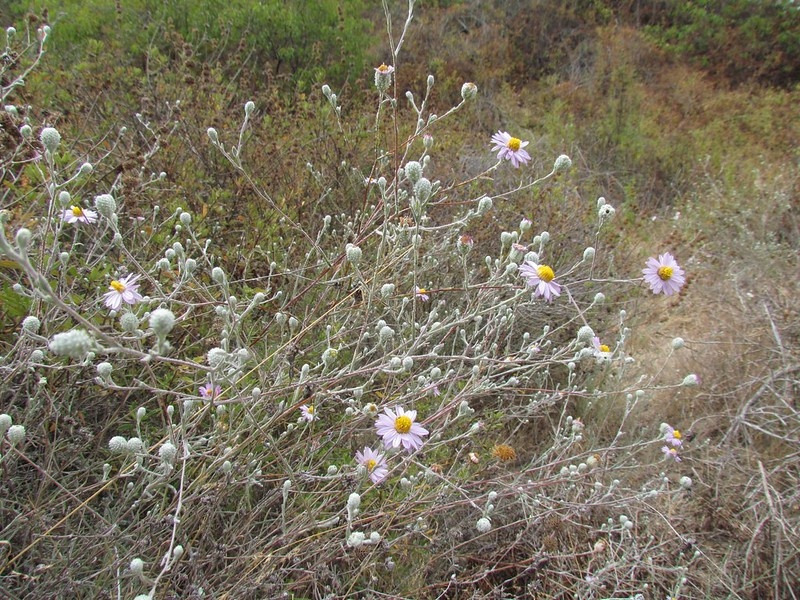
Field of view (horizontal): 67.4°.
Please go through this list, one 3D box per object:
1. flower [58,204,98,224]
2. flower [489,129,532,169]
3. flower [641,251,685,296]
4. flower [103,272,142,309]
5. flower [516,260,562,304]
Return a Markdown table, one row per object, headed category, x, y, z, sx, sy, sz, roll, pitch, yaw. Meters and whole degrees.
| category | x | y | z | sx | sy | sz | roll | pitch | yaw |
| --- | --- | --- | --- | --- | --- | --- | --- | --- | --- |
| flower | -2.004 | -0.528 | 3.754 | 0.166 | 0.064 | 0.171 | 36 | 20 | 12 |
| flower | 0.831 | -1.153 | 4.438 | 0.250 | 0.132 | 0.254 | 13 | 1 | 36 |
| flower | 1.770 | -0.215 | 4.028 | 0.257 | 0.264 | 0.126 | 32 | 62 | -30 |
| flower | -1.544 | -0.029 | 3.277 | 0.142 | 0.136 | 0.148 | 6 | -2 | -7 |
| flower | 0.862 | -0.151 | 3.574 | 0.294 | 0.103 | 0.281 | 23 | -6 | 45 |
